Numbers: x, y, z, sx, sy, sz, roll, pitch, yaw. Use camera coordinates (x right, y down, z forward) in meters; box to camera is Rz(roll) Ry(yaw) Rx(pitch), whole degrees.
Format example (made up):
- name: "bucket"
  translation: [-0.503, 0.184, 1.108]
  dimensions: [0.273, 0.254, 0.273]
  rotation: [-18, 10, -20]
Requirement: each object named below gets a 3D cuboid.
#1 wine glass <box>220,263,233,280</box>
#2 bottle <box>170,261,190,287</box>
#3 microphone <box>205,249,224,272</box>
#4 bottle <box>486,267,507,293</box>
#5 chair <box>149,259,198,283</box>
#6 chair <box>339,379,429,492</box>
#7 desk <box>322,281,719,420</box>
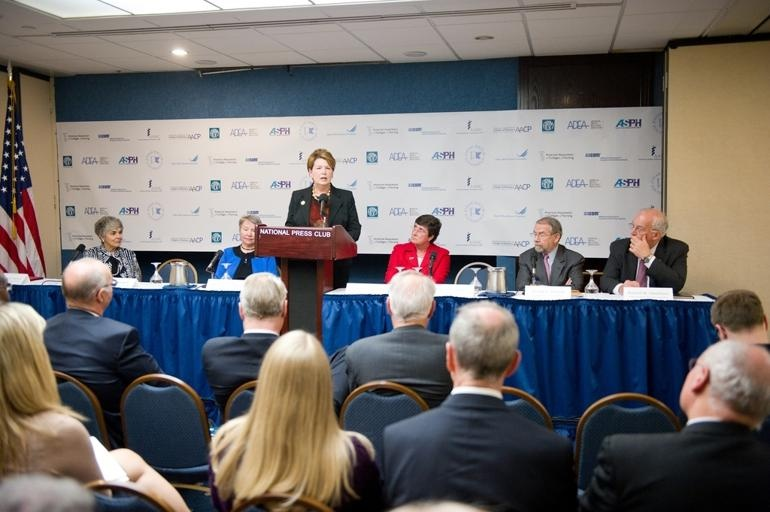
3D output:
- name: "wine glass"
  translation: [-1.332, 0.130, 5.137]
  dimensions: [0.102, 0.120, 0.108]
  rotation: [2, 4, 16]
- name: "bottle"
  translation: [-1.689, 0.144, 5.069]
  dimensions: [0.157, 0.223, 0.176]
  rotation: [1, -13, -10]
- name: "microphone"
  translation: [-1.680, 0.038, 6.084]
  dimensions: [0.075, 0.264, 0.071]
  rotation: [31, 8, -14]
- name: "bottle"
  translation: [0.855, 0.176, 4.666]
  dimensions: [0.166, 0.193, 0.158]
  rotation: [2, 0, 12]
- name: "chair"
  translation: [-1.988, 0.141, 5.861]
  dimensions: [0.366, 0.381, 0.227]
  rotation: [2, -3, -22]
- name: "chair"
  translation: [-0.017, 0.804, 2.983]
  dimensions: [0.364, 0.724, 0.421]
  rotation: [1, 12, 11]
- name: "desk"
  translation: [0.972, 0.875, 4.878]
  dimensions: [2.823, 1.140, 0.974]
  rotation: [-1, -5, 16]
